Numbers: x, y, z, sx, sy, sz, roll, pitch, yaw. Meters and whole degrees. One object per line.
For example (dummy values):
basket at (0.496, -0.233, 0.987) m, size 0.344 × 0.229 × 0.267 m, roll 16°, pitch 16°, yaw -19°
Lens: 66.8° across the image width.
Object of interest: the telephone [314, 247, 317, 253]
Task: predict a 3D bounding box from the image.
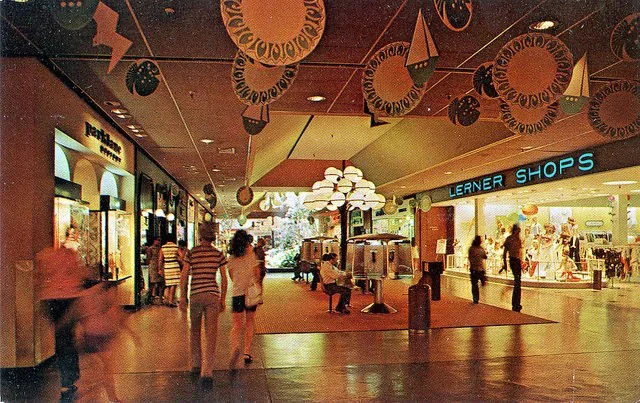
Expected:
telephone at (-0.171, 1.780, 17.877) m, size 0.118 × 0.146 × 0.074 m, roll -1°, pitch -5°, yaw 5°

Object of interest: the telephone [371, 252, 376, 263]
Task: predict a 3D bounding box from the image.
telephone at (1.252, 1.302, 11.397) m, size 0.093 × 0.248 × 0.041 m, roll -2°, pitch -10°, yaw 25°

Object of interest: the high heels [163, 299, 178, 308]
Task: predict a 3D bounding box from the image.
high heels at (-3.927, 2.621, 12.528) m, size 0.447 × 0.177 × 0.148 m, roll 11°, pitch -10°, yaw 0°

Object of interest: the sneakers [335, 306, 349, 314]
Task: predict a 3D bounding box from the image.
sneakers at (0.543, 2.643, 11.821) m, size 0.355 × 0.226 × 0.134 m, roll -1°, pitch -8°, yaw 1°

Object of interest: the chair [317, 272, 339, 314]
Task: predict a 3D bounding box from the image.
chair at (0.230, 2.227, 11.806) m, size 0.604 × 0.927 × 0.594 m, roll -4°, pitch -8°, yaw 26°

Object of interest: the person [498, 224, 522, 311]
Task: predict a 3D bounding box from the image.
person at (4.826, 1.643, 12.180) m, size 0.382 × 2.146 × 0.910 m, roll -1°, pitch -10°, yaw 20°

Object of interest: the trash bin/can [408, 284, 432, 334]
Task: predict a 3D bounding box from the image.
trash bin/can at (2.000, 2.158, 9.802) m, size 0.421 × 0.949 × 0.193 m, roll 2°, pitch -9°, yaw 1°

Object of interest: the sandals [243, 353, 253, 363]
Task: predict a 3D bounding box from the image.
sandals at (-1.176, 2.542, 7.902) m, size 0.092 × 0.120 × 0.178 m, roll 3°, pitch 4°, yaw 27°

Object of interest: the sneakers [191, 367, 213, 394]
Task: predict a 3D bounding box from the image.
sneakers at (-1.714, 2.575, 7.012) m, size 0.175 × 0.208 × 0.505 m, roll 2°, pitch 0°, yaw -20°

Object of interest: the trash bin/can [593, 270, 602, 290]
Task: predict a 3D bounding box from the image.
trash bin/can at (9.149, 2.591, 16.088) m, size 0.232 × 0.654 × 0.377 m, roll -1°, pitch -9°, yaw 20°

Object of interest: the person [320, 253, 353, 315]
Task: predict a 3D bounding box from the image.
person at (0.373, 1.978, 11.899) m, size 0.747 × 1.454 × 0.953 m, roll 2°, pitch -9°, yaw 3°
